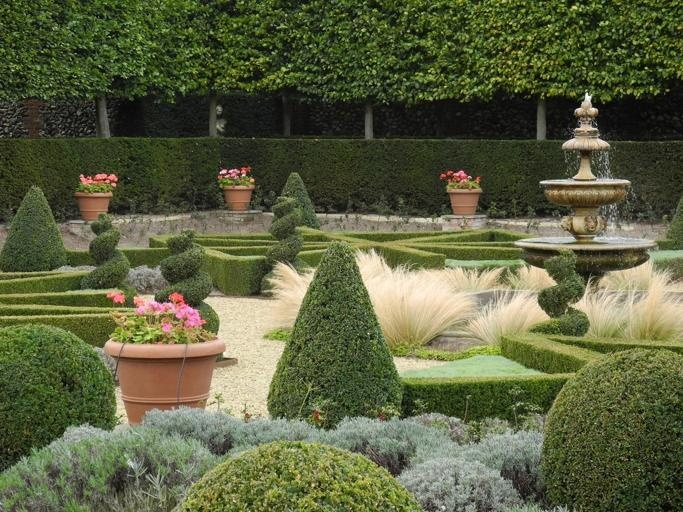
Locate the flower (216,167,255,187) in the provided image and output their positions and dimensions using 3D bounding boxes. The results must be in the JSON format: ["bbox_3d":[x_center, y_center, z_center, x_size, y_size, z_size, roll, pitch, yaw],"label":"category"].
[{"bbox_3d":[-2.603,-1.884,28.383,0.616,0.398,0.706,-1,8,-6],"label":"flower"}]

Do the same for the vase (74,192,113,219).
[{"bbox_3d":[-5.397,-1.115,25.344,0.784,0.627,0.689,-10,14,-34],"label":"vase"}]

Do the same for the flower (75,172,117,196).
[{"bbox_3d":[-5.416,-1.611,25.646,0.885,0.436,1.291,-5,12,-13],"label":"flower"}]

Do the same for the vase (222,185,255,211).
[{"bbox_3d":[-2.539,-1.416,28.251,0.622,0.510,0.661,0,-2,-1],"label":"vase"}]

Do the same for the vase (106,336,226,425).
[{"bbox_3d":[-2.063,1.383,13.479,0.982,0.735,1.040,0,-3,-5],"label":"vase"}]

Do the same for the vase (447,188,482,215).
[{"bbox_3d":[2.770,-1.258,26.954,0.596,0.470,0.632,0,-1,-4],"label":"vase"}]

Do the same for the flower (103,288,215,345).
[{"bbox_3d":[-2.160,0.799,13.786,0.984,0.468,0.774,1,2,-2],"label":"flower"}]

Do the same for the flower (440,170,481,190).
[{"bbox_3d":[2.709,-1.758,27.303,0.575,0.482,0.760,0,3,-30],"label":"flower"}]
